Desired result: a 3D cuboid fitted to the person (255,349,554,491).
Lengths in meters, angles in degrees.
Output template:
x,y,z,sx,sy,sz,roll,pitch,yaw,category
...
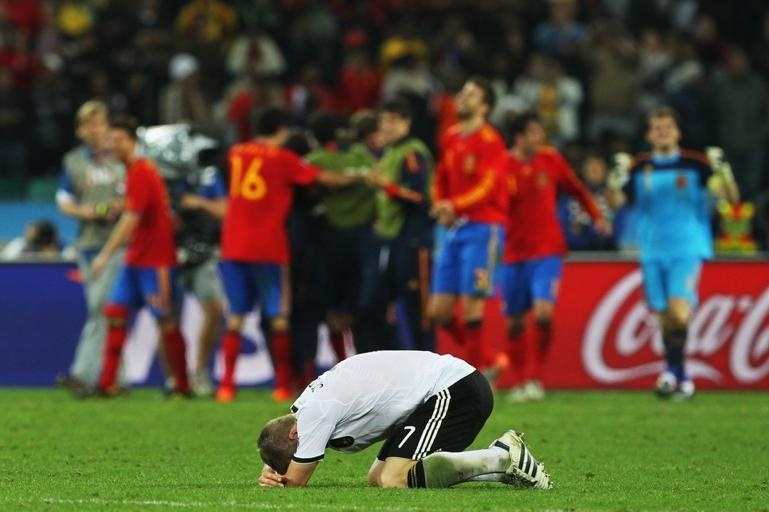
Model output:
x,y,z,sx,sy,sz,roll,pitch,yaw,category
0.023,1.662,12.540,1.842,1.110,1.212,-5,-16,-12,person
